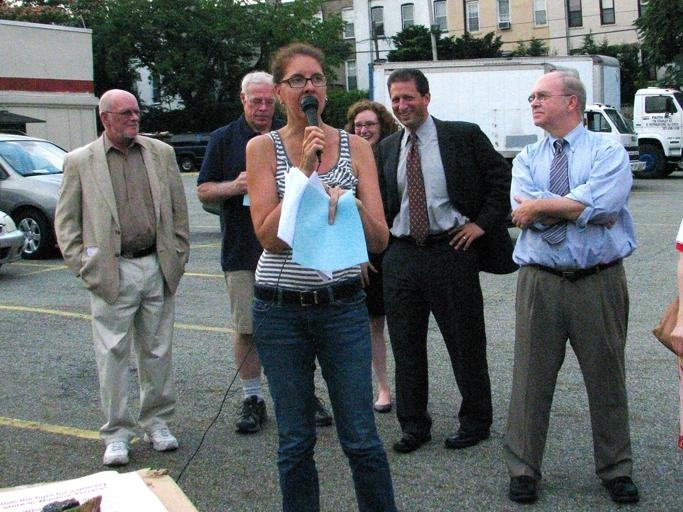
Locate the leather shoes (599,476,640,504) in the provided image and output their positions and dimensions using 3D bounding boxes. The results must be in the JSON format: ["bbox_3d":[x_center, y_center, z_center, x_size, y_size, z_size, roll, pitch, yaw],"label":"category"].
[{"bbox_3d":[1.620,1.365,3.889,0.096,0.109,0.208,-2,-10,-3],"label":"leather shoes"}]

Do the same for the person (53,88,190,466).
[{"bbox_3d":[-1.432,0.112,4.598,0.867,2.440,0.663,-9,13,-25],"label":"person"}]

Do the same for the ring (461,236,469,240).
[{"bbox_3d":[0.833,-0.117,4.550,0.021,0.010,0.030,-39,25,-11],"label":"ring"}]

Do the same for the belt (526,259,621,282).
[{"bbox_3d":[1.387,0.097,4.007,0.520,0.097,0.141,-1,13,11],"label":"belt"}]

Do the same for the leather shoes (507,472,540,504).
[{"bbox_3d":[1.099,1.381,3.988,0.235,0.128,0.153,-7,13,-13],"label":"leather shoes"}]

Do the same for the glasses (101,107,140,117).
[{"bbox_3d":[-1.527,-0.981,4.609,0.261,0.084,0.206,-8,14,-15],"label":"glasses"}]

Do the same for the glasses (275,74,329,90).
[{"bbox_3d":[-0.190,-0.847,3.262,0.232,0.065,0.085,-6,13,-9],"label":"glasses"}]

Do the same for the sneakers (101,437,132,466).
[{"bbox_3d":[-1.502,1.315,4.485,0.172,0.151,0.177,-8,13,-18],"label":"sneakers"}]

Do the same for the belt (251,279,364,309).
[{"bbox_3d":[-0.169,0.186,3.342,0.536,0.108,0.148,-5,13,-3],"label":"belt"}]

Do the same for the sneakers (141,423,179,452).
[{"bbox_3d":[-1.222,1.261,4.621,0.119,0.137,0.299,-5,-5,-30],"label":"sneakers"}]

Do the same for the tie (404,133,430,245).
[{"bbox_3d":[0.518,-0.468,4.600,0.137,0.741,0.241,-2,12,6],"label":"tie"}]

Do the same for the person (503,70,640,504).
[{"bbox_3d":[1.351,0.166,3.976,0.743,2.456,0.807,1,12,19],"label":"person"}]
